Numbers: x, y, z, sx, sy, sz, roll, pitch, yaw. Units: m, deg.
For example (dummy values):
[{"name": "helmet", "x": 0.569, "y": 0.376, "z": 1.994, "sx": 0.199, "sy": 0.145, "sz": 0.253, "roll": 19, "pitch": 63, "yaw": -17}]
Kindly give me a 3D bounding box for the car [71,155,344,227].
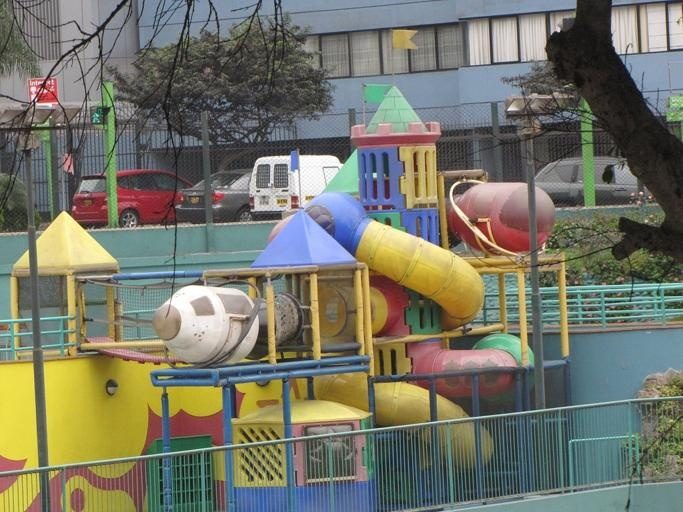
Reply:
[{"name": "car", "x": -3.639, "y": -1.622, "z": 53.379, "sx": 6.162, "sy": 2.257, "sz": 2.925, "roll": -10, "pitch": 4, "yaw": -21}]
